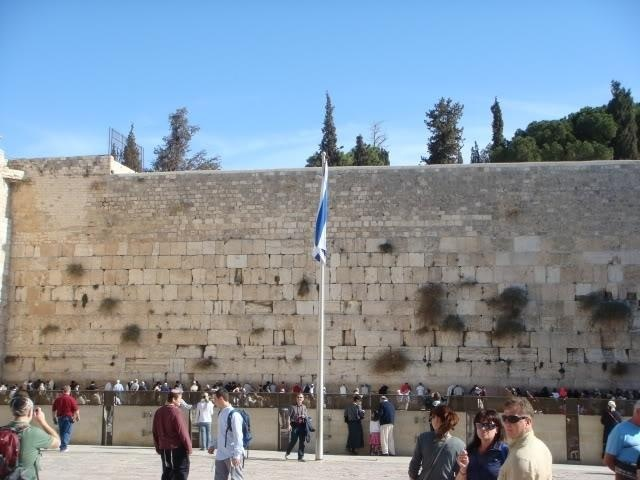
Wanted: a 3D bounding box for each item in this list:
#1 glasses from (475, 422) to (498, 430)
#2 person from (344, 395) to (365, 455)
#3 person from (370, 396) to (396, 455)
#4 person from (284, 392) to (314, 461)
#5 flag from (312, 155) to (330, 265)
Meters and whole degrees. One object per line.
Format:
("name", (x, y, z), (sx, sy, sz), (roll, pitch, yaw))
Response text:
("glasses", (3.565, 3.991, 28.027), (0.414, 0.138, 0.077), (-2, -7, 10))
("person", (0.949, 4.972, 35.199), (0.550, 1.580, 0.752), (3, -8, -28))
("person", (1.708, 4.965, 34.993), (0.616, 1.594, 0.398), (0, -7, -11))
("person", (-0.611, 4.922, 34.336), (0.768, 1.747, 0.981), (-1, -7, -2))
("flag", (0.001, -0.586, 34.497), (0.502, 2.781, 0.343), (2, 3, -45))
